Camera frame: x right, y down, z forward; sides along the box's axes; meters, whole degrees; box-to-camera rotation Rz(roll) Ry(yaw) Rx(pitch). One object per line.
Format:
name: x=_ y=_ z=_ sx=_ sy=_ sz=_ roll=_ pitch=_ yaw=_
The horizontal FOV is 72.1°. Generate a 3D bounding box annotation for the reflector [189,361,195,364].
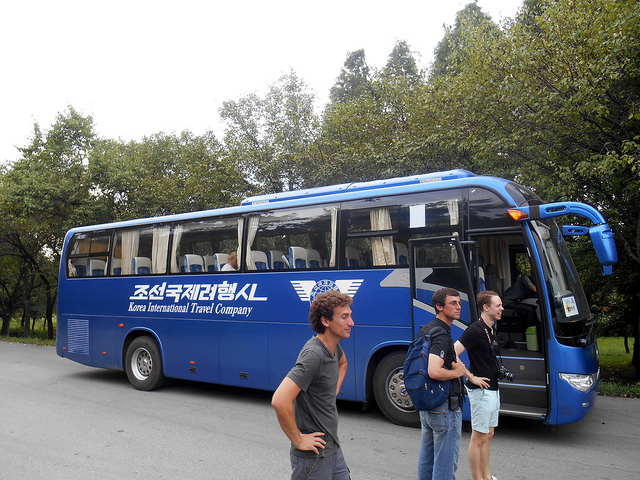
reflector: x=-3.023 y=2.904 z=10.392 sx=0.119 sy=0.064 sz=0.027 roll=-4 pitch=-5 yaw=35

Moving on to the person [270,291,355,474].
person: x=-0.078 y=1.336 z=4.095 sx=0.815 sy=1.677 sz=0.323 roll=2 pitch=-4 yaw=-26

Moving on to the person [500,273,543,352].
person: x=3.808 y=1.272 z=8.095 sx=0.569 sy=1.264 sz=1.876 roll=-1 pitch=-5 yaw=7

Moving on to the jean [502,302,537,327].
jean: x=3.835 y=1.527 z=8.617 sx=0.714 sy=0.719 sz=0.588 roll=-3 pitch=-6 yaw=26

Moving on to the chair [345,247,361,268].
chair: x=0.621 y=0.361 z=8.582 sx=0.319 sy=0.511 sz=0.269 roll=-4 pitch=-6 yaw=41

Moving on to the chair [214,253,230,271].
chair: x=-2.291 y=0.511 z=10.152 sx=0.299 sy=0.476 sz=0.375 roll=3 pitch=-6 yaw=-21

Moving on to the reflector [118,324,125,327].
reflector: x=-5.158 y=2.242 z=11.447 sx=0.209 sy=0.071 sz=0.027 roll=-4 pitch=-5 yaw=32

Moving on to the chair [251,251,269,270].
chair: x=-1.255 y=0.472 z=9.733 sx=0.290 sy=0.482 sz=0.401 roll=-11 pitch=-11 yaw=-5

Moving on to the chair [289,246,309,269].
chair: x=-0.408 y=0.404 z=9.158 sx=0.332 sy=0.530 sz=0.436 roll=-2 pitch=-16 yaw=1

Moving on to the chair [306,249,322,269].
chair: x=-0.162 y=0.392 z=8.971 sx=0.282 sy=0.453 sz=0.357 roll=-6 pitch=-4 yaw=-1

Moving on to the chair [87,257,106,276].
chair: x=-6.070 y=0.749 z=11.939 sx=0.417 sy=0.623 sz=0.535 roll=5 pitch=-7 yaw=-39

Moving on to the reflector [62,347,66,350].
reflector: x=-7.323 y=3.119 z=12.594 sx=0.167 sy=0.059 sz=0.015 roll=-3 pitch=-4 yaw=27

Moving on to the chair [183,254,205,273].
chair: x=-3.020 y=0.615 z=10.606 sx=0.378 sy=0.596 sz=0.482 roll=2 pitch=-11 yaw=-19

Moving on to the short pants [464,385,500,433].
short pants: x=2.125 y=2.040 z=5.760 sx=0.385 sy=0.743 sz=0.667 roll=-3 pitch=-7 yaw=29

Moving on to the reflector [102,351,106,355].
reflector: x=-5.776 y=3.048 z=11.776 sx=0.124 sy=0.057 sz=0.008 roll=-3 pitch=-4 yaw=25
